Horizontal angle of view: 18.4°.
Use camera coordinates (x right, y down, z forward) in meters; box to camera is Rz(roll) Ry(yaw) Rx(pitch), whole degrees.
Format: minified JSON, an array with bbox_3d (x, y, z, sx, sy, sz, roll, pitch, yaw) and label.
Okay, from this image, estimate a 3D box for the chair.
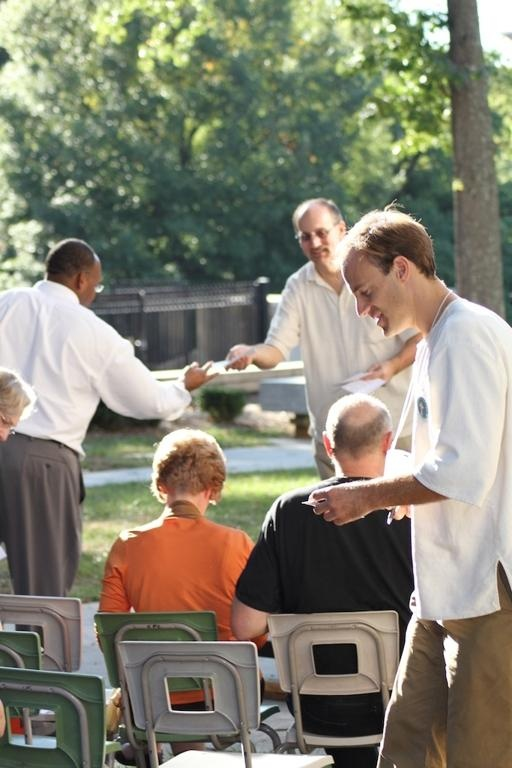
[{"bbox_3d":[0.142,0.948,5.870,1.600,0.516,0.823,-1,1,24],"label":"chair"}]
